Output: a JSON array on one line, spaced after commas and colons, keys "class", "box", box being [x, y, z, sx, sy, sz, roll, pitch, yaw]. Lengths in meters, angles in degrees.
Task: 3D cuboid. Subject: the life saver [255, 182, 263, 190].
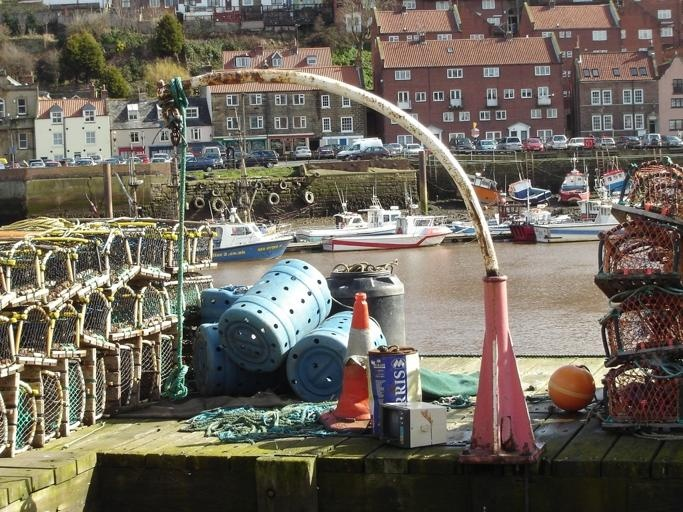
[{"class": "life saver", "box": [-4.002, -3.344, 73.893, 0.333, 0.343, 0.334, 3, -2, 3]}]

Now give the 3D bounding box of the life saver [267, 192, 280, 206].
[{"class": "life saver", "box": [-3.293, -2.698, 74.269, 0.566, 0.572, 0.193, -1, 2, -34]}]

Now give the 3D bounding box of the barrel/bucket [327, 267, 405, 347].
[{"class": "barrel/bucket", "box": [0.694, 1.295, 40.425, 1.937, 2.174, 1.964, 0, -2, 0]}]

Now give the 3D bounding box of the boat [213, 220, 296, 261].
[{"class": "boat", "box": [-3.931, -0.566, 64.011, 3.077, 1.618, 0.781, -5, 10, -16]}]

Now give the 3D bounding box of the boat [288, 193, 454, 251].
[{"class": "boat", "box": [1.337, -1.131, 67.074, 6.246, 1.748, 2.584, -3, 9, -4]}]

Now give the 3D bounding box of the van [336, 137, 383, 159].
[{"class": "van", "box": [0.939, -5.623, 80.555, 2.064, 1.137, 1.194, -2, 3, -22]}]

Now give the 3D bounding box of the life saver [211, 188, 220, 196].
[{"class": "life saver", "box": [-6.069, -2.980, 73.864, 0.386, 0.338, 0.209, -4, 9, -9]}]

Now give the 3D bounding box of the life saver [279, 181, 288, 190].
[{"class": "life saver", "box": [-2.844, -3.375, 74.658, 0.397, 0.416, 0.158, -4, 9, -6]}]

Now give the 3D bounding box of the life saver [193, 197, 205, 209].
[{"class": "life saver", "box": [-6.784, -2.483, 73.553, 0.626, 0.621, 0.487, -8, 11, -30]}]

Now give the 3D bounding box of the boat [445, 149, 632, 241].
[{"class": "boat", "box": [9.424, -2.631, 72.195, 7.380, 2.626, 12.527, -1, 10, 10]}]

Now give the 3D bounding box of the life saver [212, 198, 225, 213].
[{"class": "life saver", "box": [-5.889, -2.301, 73.284, 0.633, 0.789, 1.668, -4, 10, -6]}]

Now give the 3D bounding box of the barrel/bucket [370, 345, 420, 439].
[{"class": "barrel/bucket", "box": [1.264, 3.269, 37.852, 1.158, 1.850, 1.091, -3, -2, 0]}]
